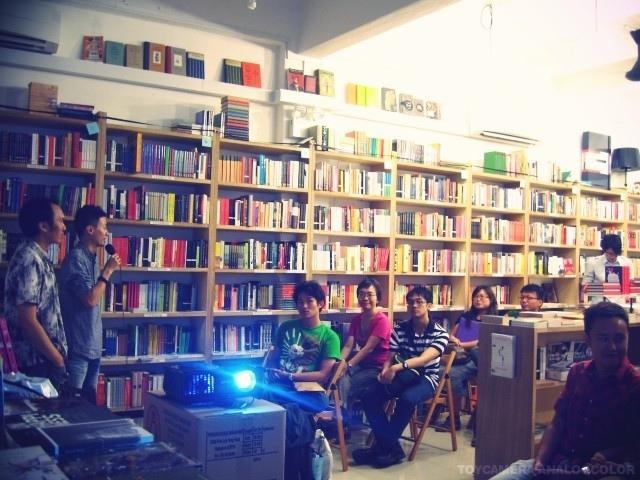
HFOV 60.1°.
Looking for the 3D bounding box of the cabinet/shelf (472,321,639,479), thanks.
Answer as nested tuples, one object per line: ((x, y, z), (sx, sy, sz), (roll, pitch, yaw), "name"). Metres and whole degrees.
((1.389, 1.079, 3.738), (0.591, 1.100, 0.470), (4, -6, -33), "cabinet/shelf")

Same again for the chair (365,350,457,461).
((1.048, 1.529, 5.437), (0.608, 0.899, 1.303), (0, -5, 17), "chair")

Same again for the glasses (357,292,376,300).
((0.468, 0.545, 5.343), (0.206, 0.090, 0.134), (2, -5, -10), "glasses")
